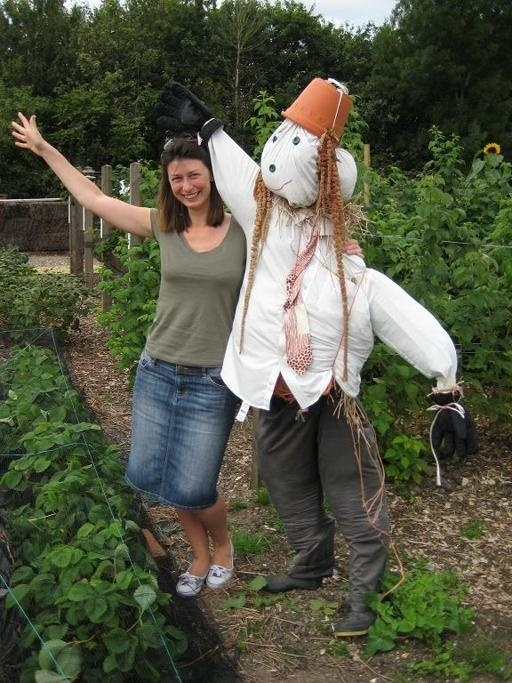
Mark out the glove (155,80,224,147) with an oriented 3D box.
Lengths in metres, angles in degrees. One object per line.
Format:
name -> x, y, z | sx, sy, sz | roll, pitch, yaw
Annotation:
glove -> -0.263, -0.849, 2.263 | 0.209, 0.247, 0.214 | 9, 20, 3

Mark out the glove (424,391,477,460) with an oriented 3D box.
glove -> 0.683, 0.278, 2.222 | 0.219, 0.227, 0.244 | 4, 17, 15
